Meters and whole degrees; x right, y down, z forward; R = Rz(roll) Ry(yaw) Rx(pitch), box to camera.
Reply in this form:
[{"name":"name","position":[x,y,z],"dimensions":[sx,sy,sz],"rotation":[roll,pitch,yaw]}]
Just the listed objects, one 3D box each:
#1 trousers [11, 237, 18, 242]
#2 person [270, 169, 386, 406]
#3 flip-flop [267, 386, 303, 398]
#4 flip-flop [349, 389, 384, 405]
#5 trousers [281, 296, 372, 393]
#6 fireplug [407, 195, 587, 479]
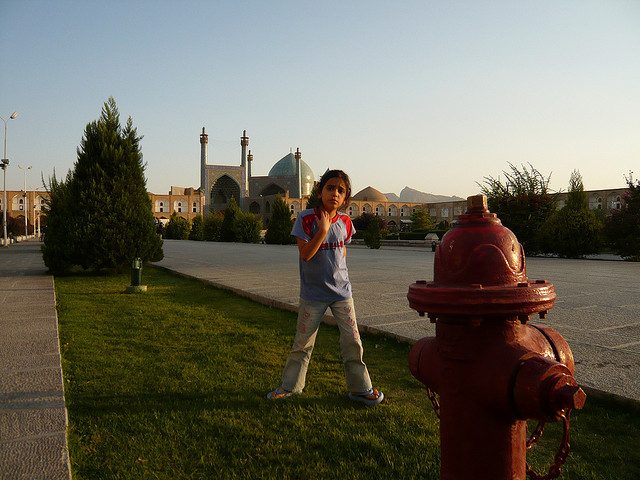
[{"name":"trousers","position":[-26.051,-0.029,40.797],"dimensions":[0.309,0.370,0.083],"rotation":[-4,-9,-5]},{"name":"person","position":[0.073,0.366,3.810],"dimensions":[0.842,1.794,0.681],"rotation":[2,3,31]},{"name":"flip-flop","position":[-0.309,1.196,3.793],"dimensions":[0.210,0.070,0.091],"rotation":[5,-8,-20]},{"name":"flip-flop","position":[0.372,1.199,3.709],"dimensions":[0.229,0.128,0.110],"rotation":[-2,-1,2]},{"name":"trousers","position":[0.043,0.730,3.892],"dimensions":[0.760,1.195,0.362],"rotation":[1,21,0]},{"name":"fireplug","position":[0.832,0.565,2.324],"dimensions":[0.727,1.548,0.990],"rotation":[1,3,22]}]
